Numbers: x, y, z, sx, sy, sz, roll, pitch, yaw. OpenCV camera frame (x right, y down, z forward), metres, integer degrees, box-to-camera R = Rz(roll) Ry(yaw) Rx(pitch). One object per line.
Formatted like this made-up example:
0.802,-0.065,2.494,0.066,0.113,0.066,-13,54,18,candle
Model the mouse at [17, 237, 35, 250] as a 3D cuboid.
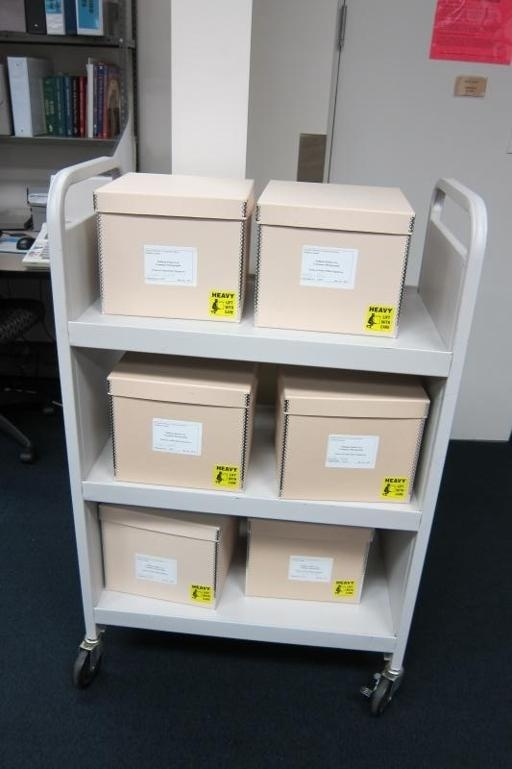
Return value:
-0.848,-0.524,2.136,0.048,0.026,0.073,6,37,3,mouse
